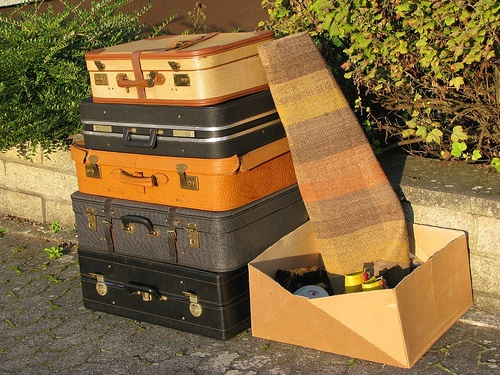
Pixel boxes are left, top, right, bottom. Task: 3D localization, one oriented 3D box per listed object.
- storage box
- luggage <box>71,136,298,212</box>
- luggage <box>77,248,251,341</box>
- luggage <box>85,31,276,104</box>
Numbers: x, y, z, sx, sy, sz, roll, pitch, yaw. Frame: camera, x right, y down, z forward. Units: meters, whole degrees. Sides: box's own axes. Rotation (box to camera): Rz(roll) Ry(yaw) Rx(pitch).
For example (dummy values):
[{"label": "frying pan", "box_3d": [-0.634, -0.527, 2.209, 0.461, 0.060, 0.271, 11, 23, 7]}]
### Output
[{"label": "storage box", "box_3d": [0.674, 0.723, 3.393, 1.116, 0.439, 1.099, -1, 11, 40]}, {"label": "luggage", "box_3d": [-0.382, -0.094, 3.736, 0.840, 0.190, 0.824, 4, 12, 35]}, {"label": "luggage", "box_3d": [-0.406, 0.702, 4.215, 1.472, 0.445, 1.204, 3, 10, 39]}, {"label": "luggage", "box_3d": [-0.437, -0.907, 4.007, 1.050, 0.382, 1.310, 7, 24, 29]}]
